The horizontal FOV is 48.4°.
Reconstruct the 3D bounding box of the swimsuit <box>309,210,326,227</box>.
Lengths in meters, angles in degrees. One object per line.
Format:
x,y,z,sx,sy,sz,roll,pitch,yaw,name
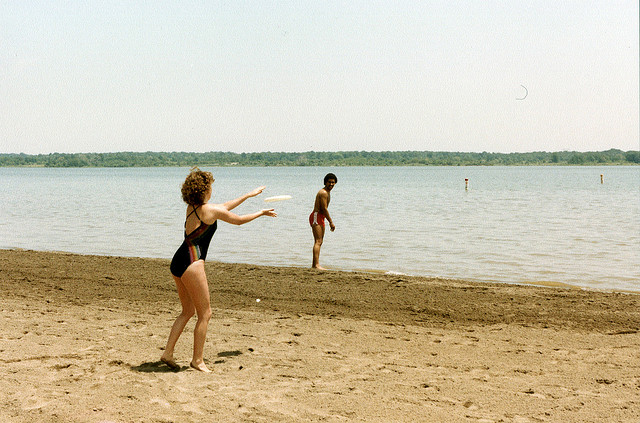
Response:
-0.084,0.172,19.066,0.342,0.435,0.465,-4,2,-5,swimsuit
